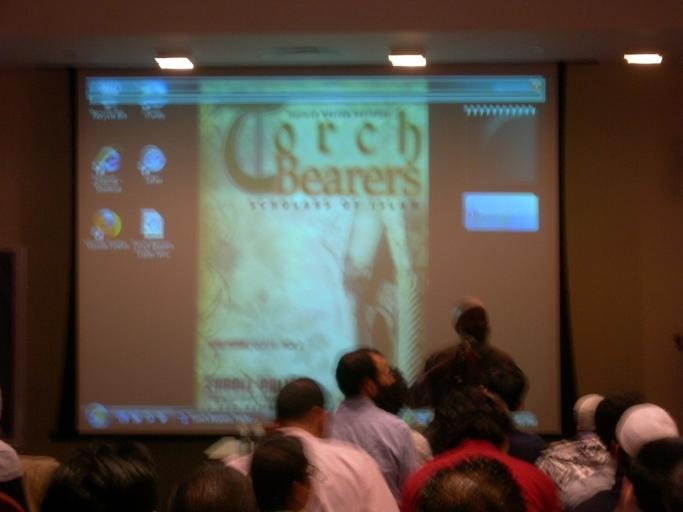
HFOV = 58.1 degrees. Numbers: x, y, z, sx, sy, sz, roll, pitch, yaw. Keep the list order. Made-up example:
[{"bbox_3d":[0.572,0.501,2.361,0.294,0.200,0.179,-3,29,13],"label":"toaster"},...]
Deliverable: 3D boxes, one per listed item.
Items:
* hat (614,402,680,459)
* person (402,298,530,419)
[{"bbox_3d":[1.241,0.706,2.499,0.191,0.218,0.145,-9,4,30],"label":"hat"},{"bbox_3d":[0.796,0.629,3.813,0.889,0.863,0.520,2,-28,6],"label":"person"}]
